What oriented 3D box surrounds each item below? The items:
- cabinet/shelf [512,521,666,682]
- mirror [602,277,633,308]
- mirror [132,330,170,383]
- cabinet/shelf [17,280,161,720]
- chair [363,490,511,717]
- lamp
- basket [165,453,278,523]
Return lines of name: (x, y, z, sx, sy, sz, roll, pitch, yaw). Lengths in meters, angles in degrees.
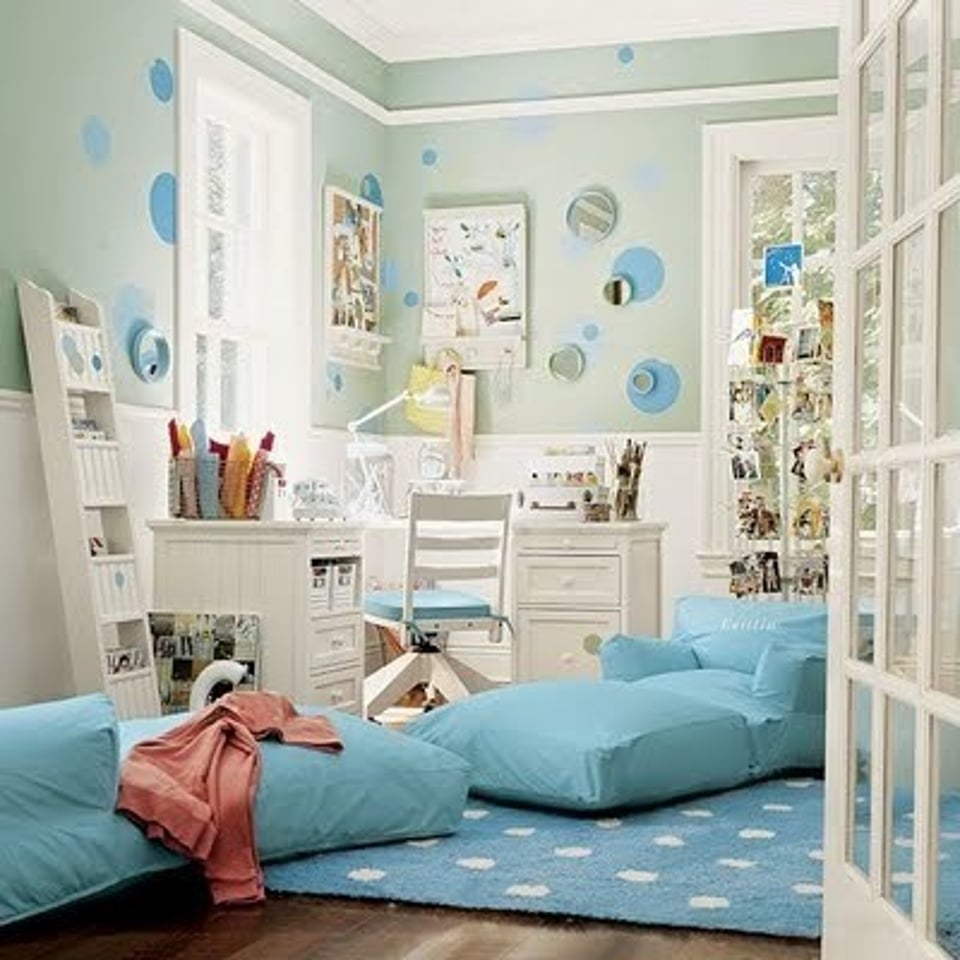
cabinet/shelf: (0.429, 0.608, 3.885, 0.534, 0.857, 0.582, 0, 1, 17)
mirror: (0.724, -0.994, 4.539, 0.144, 0.147, 0.034, -5, 2, 20)
mirror: (-1.227, -0.465, 3.214, 0.033, 0.192, 0.175, 1, -17, 16)
cabinet/shelf: (-1.240, 0.060, 2.752, 0.284, 1.383, 0.416, -2, -7, 17)
chair: (-0.202, 0.539, 3.762, 0.678, 0.946, 0.657, 3, -2, -35)
lamp: (-0.430, -0.184, 4.378, 0.539, 0.648, 0.288, -1, -22, 4)
basket: (-0.935, 0.034, 3.098, 0.368, 0.272, 0.217, 2, -3, -29)
